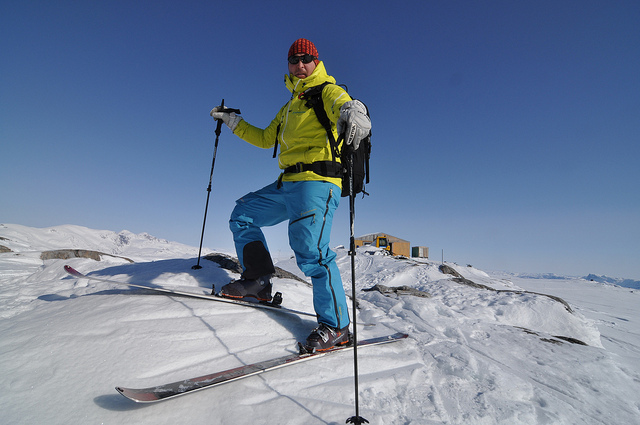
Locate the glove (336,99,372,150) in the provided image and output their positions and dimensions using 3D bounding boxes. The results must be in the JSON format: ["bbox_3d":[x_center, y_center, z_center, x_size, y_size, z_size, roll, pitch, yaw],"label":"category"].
[{"bbox_3d":[0.358,-0.952,3.883,0.346,0.413,0.173,10,-4,1],"label":"glove"}]

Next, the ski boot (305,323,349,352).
[{"bbox_3d":[0.125,1.424,4.295,0.207,0.271,0.644,-5,-7,45],"label":"ski boot"}]
